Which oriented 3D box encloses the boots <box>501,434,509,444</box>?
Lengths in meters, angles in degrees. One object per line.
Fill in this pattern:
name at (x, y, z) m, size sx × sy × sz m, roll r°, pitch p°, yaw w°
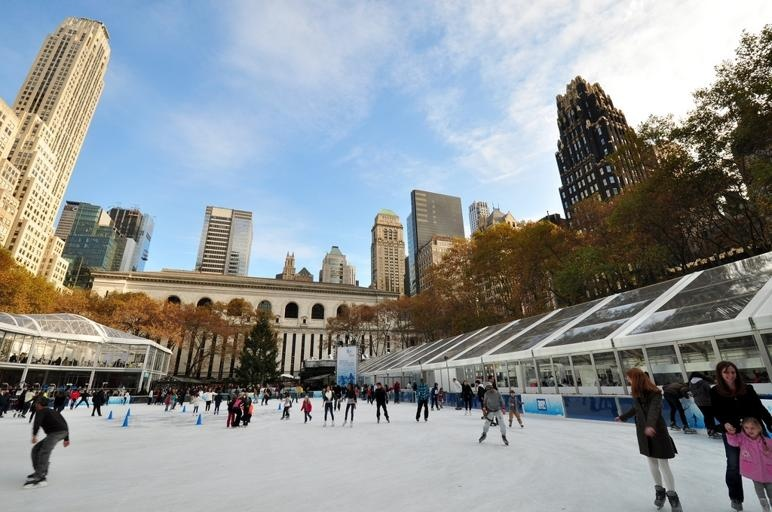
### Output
boots at (4.045, 6.150, 11.187) m, size 0.201 × 0.320 × 0.556 m, roll -8°, pitch -21°, yaw 16°
